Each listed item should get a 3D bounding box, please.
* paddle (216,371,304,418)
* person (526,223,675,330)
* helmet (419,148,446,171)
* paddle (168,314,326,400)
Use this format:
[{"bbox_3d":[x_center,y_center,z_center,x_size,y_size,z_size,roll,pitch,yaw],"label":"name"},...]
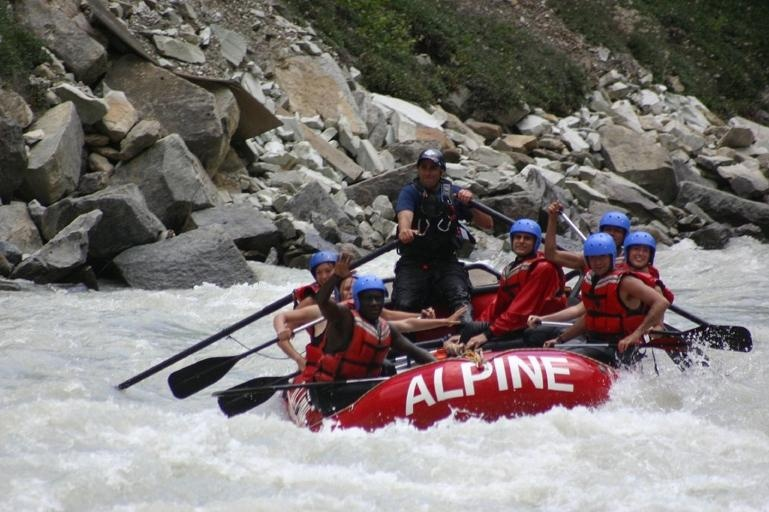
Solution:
[{"bbox_3d":[-1.943,2.012,17.003,1.602,0.467,0.077,-23,10,-8],"label":"paddle"},{"bbox_3d":[3.122,0.181,17.155,1.811,1.178,1.366,-10,11,-20],"label":"person"},{"bbox_3d":[0.750,-1.518,18.048,0.370,0.320,0.339,8,15,15],"label":"helmet"},{"bbox_3d":[-2.159,1.595,17.867,2.960,0.432,0.132,-24,31,-26],"label":"paddle"}]
